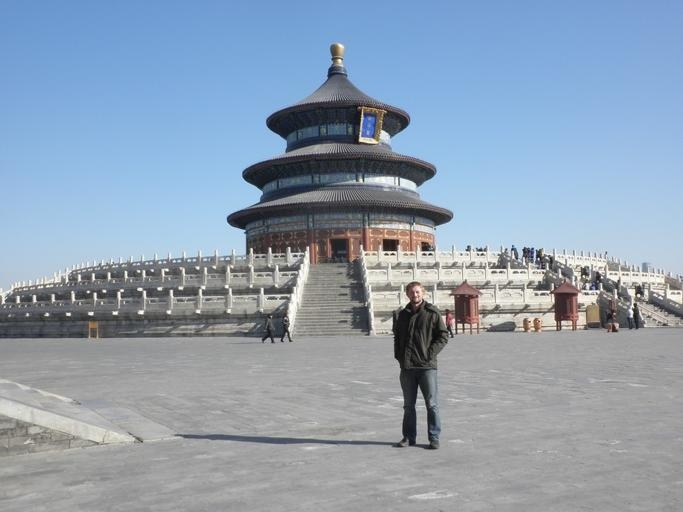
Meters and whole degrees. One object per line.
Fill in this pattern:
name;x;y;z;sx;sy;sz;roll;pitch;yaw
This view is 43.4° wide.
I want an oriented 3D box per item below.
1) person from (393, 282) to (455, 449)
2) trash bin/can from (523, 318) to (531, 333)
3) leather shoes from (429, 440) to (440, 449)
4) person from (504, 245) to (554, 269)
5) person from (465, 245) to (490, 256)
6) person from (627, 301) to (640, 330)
person;1.216;1.606;12.998;0.810;2.459;0.713;-2;-7;4
trash bin/can;8.557;3.138;39.575;0.359;0.606;1.177;-3;-7;11
leather shoes;1.346;2.744;12.553;0.167;0.127;0.202;-2;-6;5
person;9.723;0.212;44.940;2.457;0.674;1.483;-1;1;-22
person;6.369;-0.180;40.132;0.866;0.306;0.768;0;-5;-5
person;13.962;2.815;41.056;0.549;1.259;1.948;-4;-7;19
